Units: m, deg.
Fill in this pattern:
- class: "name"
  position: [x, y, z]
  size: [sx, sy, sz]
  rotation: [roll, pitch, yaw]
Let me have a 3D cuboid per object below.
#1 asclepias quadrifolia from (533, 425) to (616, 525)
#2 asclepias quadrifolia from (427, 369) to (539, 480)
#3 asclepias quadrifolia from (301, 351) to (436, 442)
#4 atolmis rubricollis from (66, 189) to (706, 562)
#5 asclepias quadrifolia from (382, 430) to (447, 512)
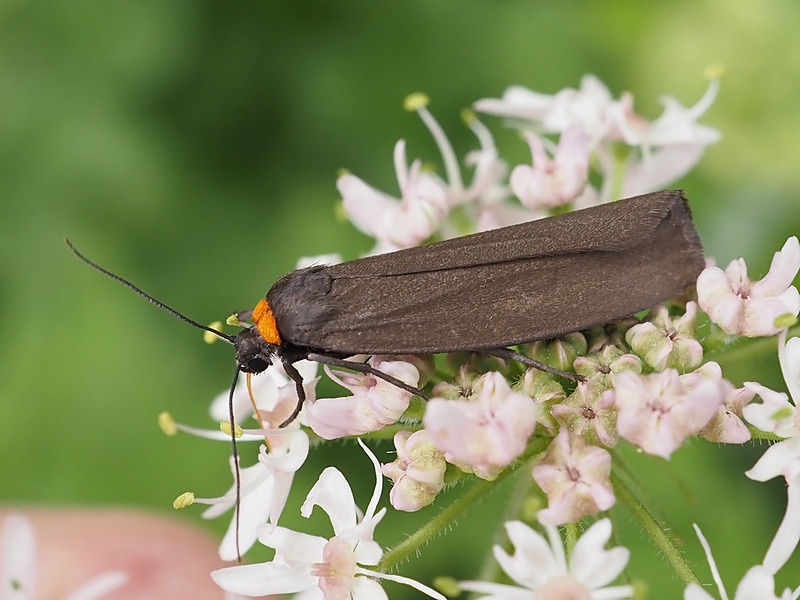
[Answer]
- class: "asclepias quadrifolia"
  position: [0.691, 0.686, 3.617]
  size: [0.337, 0.409, 0.100]
  rotation: [-6, -10, 11]
- class: "asclepias quadrifolia"
  position: [0.279, 0.453, 3.426]
  size: [0.455, 0.356, 0.259]
  rotation: [-15, -32, -33]
- class: "asclepias quadrifolia"
  position: [-0.148, 0.397, 3.882]
  size: [0.391, 0.192, 0.337]
  rotation: [-3, -53, -2]
- class: "atolmis rubricollis"
  position: [-0.055, 0.097, 4.065]
  size: [2.655, 1.884, 0.639]
  rotation: [-11, -67, 6]
- class: "asclepias quadrifolia"
  position: [0.063, 0.689, 3.883]
  size: [0.261, 0.215, 0.383]
  rotation: [-9, -81, -50]
